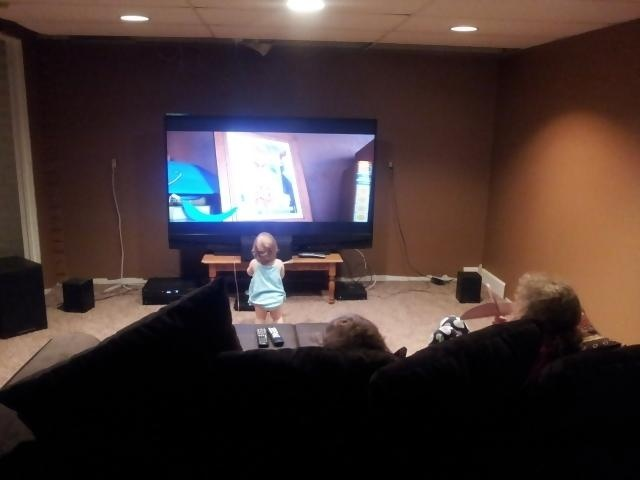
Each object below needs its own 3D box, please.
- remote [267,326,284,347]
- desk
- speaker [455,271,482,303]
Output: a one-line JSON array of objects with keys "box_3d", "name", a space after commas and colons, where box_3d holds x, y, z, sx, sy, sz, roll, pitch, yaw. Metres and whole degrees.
[{"box_3d": [-0.273, 0.581, 3.086, 0.047, 0.041, 0.185, 0, 13, -12], "name": "remote"}, {"box_3d": [-0.413, 0.395, 4.766, 1.231, 0.457, 0.418, -1, 4, 1], "name": "desk"}, {"box_3d": [1.325, 0.415, 4.668, 0.245, 0.378, 0.254, 0, 9, 3], "name": "speaker"}]
